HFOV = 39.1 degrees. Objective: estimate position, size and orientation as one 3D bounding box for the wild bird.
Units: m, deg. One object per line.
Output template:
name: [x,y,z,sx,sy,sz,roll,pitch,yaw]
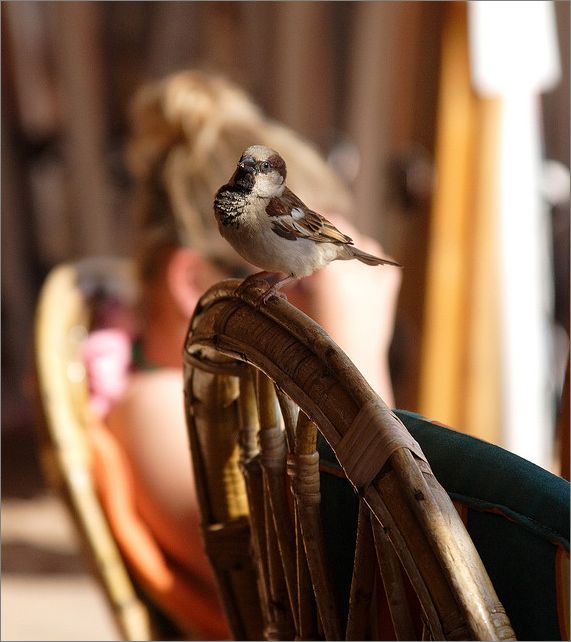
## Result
wild bird: [-0.002,-0.111,1.065,0.260,0.213,0.149,2,-4,-33]
